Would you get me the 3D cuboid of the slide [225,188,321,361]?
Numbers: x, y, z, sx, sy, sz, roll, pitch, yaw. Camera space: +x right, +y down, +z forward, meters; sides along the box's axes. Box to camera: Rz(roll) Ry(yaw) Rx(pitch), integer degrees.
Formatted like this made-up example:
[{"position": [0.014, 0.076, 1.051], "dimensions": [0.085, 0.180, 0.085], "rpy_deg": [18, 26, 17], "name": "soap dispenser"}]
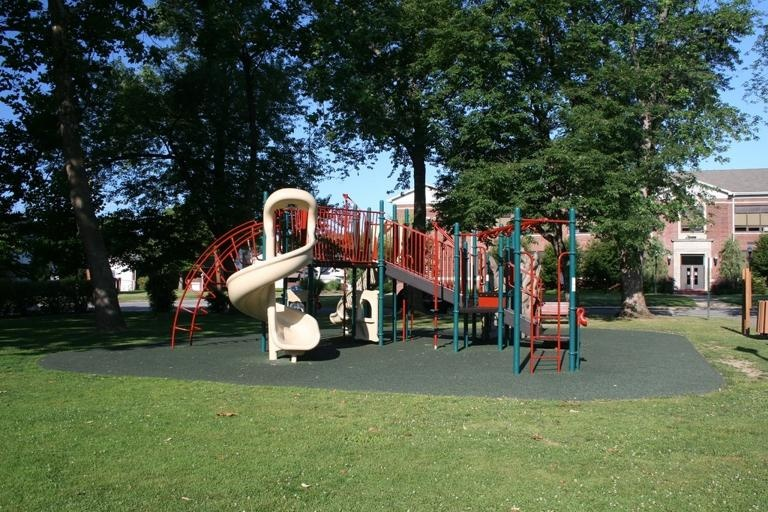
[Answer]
[{"position": [-3.189, 0.572, 20.545], "dimensions": [2.038, 5.112, 2.720], "rpy_deg": [7, 11, 41], "name": "slide"}]
